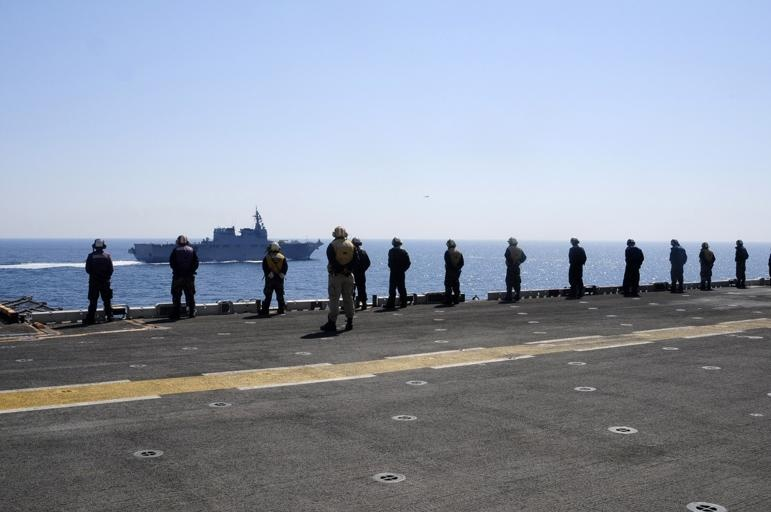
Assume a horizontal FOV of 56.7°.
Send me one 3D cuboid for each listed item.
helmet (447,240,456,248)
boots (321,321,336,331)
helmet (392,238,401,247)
[{"bbox_3d":[1.995,-0.376,21.914,0.235,0.238,0.244,2,5,-21],"label":"helmet"},{"bbox_3d":[-1.263,1.560,15.931,0.343,0.211,0.368,-1,8,-9],"label":"boots"},{"bbox_3d":[0.296,-0.398,21.083,0.214,0.224,0.252,7,32,13],"label":"helmet"}]
